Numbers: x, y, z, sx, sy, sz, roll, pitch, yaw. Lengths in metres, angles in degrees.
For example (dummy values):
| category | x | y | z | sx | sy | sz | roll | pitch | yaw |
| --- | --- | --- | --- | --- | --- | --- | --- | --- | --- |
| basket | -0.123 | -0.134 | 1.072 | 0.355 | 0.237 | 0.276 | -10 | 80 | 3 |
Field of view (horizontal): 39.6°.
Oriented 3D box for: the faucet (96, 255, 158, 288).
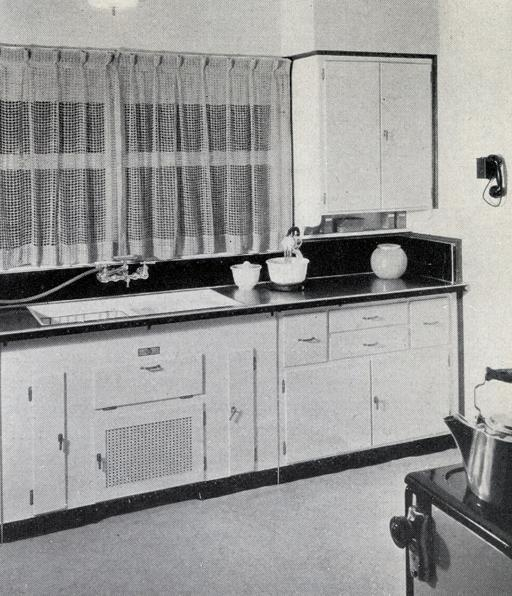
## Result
| category | x | y | z | sx | sy | sz | roll | pitch | yaw |
| --- | --- | --- | --- | --- | --- | --- | --- | --- | --- |
| faucet | -0.546 | -0.110 | 2.993 | 0.255 | 0.139 | 0.206 | -3 | 5 | -9 |

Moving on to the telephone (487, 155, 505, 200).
| category | x | y | z | sx | sy | sz | roll | pitch | yaw |
| --- | --- | --- | --- | --- | --- | --- | --- | --- | --- |
| telephone | 1.012 | -0.510 | 2.988 | 0.069 | 0.161 | 0.296 | 0 | 5 | 18 |

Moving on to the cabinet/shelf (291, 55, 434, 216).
| category | x | y | z | sx | sy | sz | roll | pitch | yaw |
| --- | --- | --- | --- | --- | --- | --- | --- | --- | --- |
| cabinet/shelf | 0.643 | -0.761 | 3.358 | 0.237 | 0.702 | 0.689 | -11 | 14 | -41 |

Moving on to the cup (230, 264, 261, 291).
| category | x | y | z | sx | sy | sz | roll | pitch | yaw |
| --- | --- | --- | --- | --- | --- | --- | --- | --- | --- |
| cup | -0.046 | -0.099 | 3.168 | 0.117 | 0.095 | 0.120 | -1 | 5 | 0 |
